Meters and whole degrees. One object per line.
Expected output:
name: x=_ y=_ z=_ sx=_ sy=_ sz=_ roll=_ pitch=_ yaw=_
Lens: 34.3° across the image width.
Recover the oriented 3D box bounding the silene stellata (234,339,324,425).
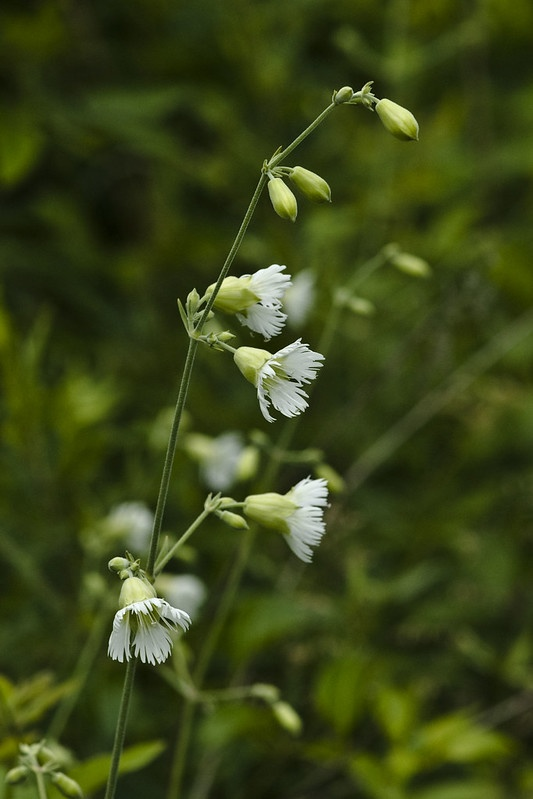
silene stellata: x=0.008 y=-0.023 z=0.759 sx=0.077 sy=0.061 sz=0.032 roll=30 pitch=-60 yaw=25

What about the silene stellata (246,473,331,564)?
silene stellata: x=0.020 y=0.100 z=0.818 sx=0.083 sy=0.086 sz=0.071 roll=8 pitch=-73 yaw=0

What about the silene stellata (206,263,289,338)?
silene stellata: x=-0.028 y=-0.090 z=0.763 sx=0.090 sy=0.054 sz=0.046 roll=20 pitch=-90 yaw=-41
